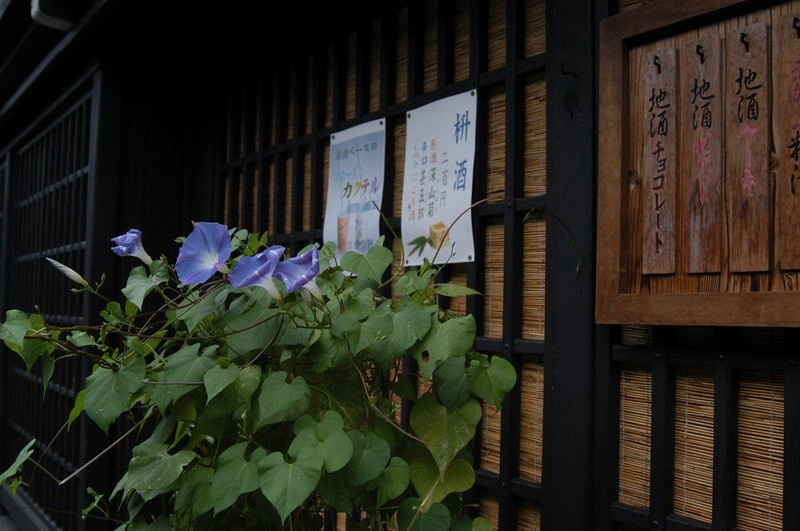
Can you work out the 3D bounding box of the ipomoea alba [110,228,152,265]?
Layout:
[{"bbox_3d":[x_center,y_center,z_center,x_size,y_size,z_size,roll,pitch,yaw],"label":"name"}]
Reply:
[{"bbox_3d":[-0.807,-0.056,1.894,0.099,0.119,0.189,6,-9,-34],"label":"ipomoea alba"}]

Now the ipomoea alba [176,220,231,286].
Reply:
[{"bbox_3d":[-0.526,-0.036,1.689,0.146,0.173,0.084,2,-7,-8],"label":"ipomoea alba"}]

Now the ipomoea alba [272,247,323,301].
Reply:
[{"bbox_3d":[-0.274,0.020,1.710,0.126,0.139,0.137,2,-7,-11],"label":"ipomoea alba"}]

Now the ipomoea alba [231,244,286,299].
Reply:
[{"bbox_3d":[-0.373,0.036,1.698,0.119,0.158,0.119,20,-58,-30],"label":"ipomoea alba"}]
